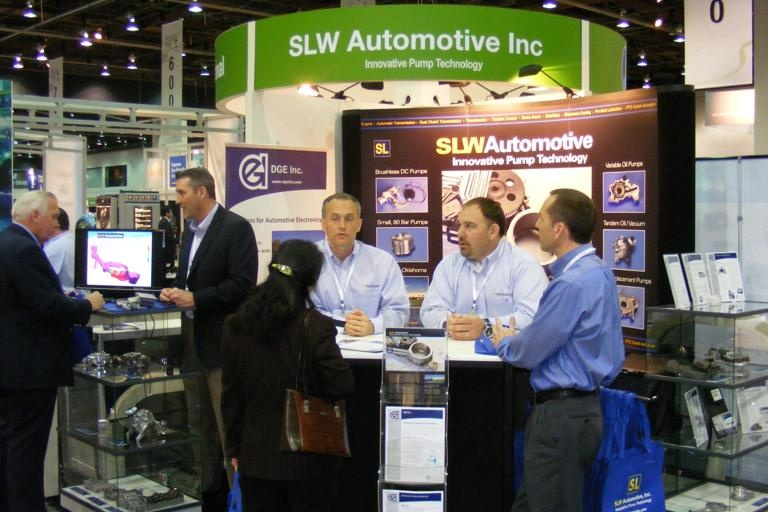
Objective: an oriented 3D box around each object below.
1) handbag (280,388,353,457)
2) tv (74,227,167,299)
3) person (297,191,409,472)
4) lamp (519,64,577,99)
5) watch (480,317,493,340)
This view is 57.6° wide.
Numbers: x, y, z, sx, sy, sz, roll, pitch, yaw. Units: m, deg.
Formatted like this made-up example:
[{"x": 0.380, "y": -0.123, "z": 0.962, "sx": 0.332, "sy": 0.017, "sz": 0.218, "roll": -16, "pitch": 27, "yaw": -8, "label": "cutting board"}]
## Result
[{"x": -0.341, "y": 0.854, "z": 3.651, "sx": 0.406, "sy": 0.387, "sz": 0.140, "roll": 20, "pitch": -27, "yaw": -39, "label": "handbag"}, {"x": -1.853, "y": 0.044, "z": 4.930, "sx": 0.651, "sy": 0.481, "sz": 0.199, "roll": 1, "pitch": -1, "yaw": 0, "label": "tv"}, {"x": -0.274, "y": 0.669, "z": 5.097, "sx": 0.800, "sy": 2.197, "sz": 0.749, "roll": -1, "pitch": 17, "yaw": -3, "label": "person"}, {"x": 1.472, "y": -1.576, "z": 6.351, "sx": 0.471, "sy": 0.251, "sz": 0.431, "roll": -2, "pitch": -1, "yaw": 12, "label": "lamp"}, {"x": 0.670, "y": 0.460, "z": 4.509, "sx": 0.071, "sy": 0.112, "sz": 0.106, "roll": 1, "pitch": -2, "yaw": 7, "label": "watch"}]
